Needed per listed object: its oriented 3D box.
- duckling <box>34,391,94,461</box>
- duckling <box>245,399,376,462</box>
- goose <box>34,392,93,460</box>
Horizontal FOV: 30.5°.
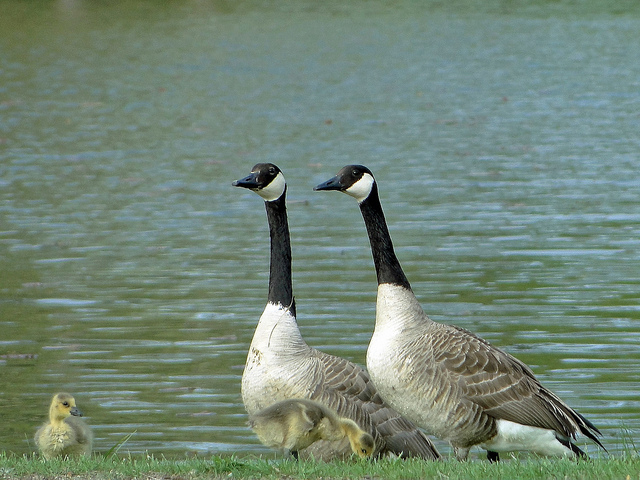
[{"bbox_3d":[-4.900,3.431,22.100,1.024,1.163,0.843,-16,37,-18],"label":"duckling"},{"bbox_3d":[-0.290,3.111,20.636,2.570,0.778,0.890,22,0,-1],"label":"duckling"},{"bbox_3d":[-4.793,3.401,22.155,0.987,1.161,1.349,4,10,33],"label":"goose"}]
